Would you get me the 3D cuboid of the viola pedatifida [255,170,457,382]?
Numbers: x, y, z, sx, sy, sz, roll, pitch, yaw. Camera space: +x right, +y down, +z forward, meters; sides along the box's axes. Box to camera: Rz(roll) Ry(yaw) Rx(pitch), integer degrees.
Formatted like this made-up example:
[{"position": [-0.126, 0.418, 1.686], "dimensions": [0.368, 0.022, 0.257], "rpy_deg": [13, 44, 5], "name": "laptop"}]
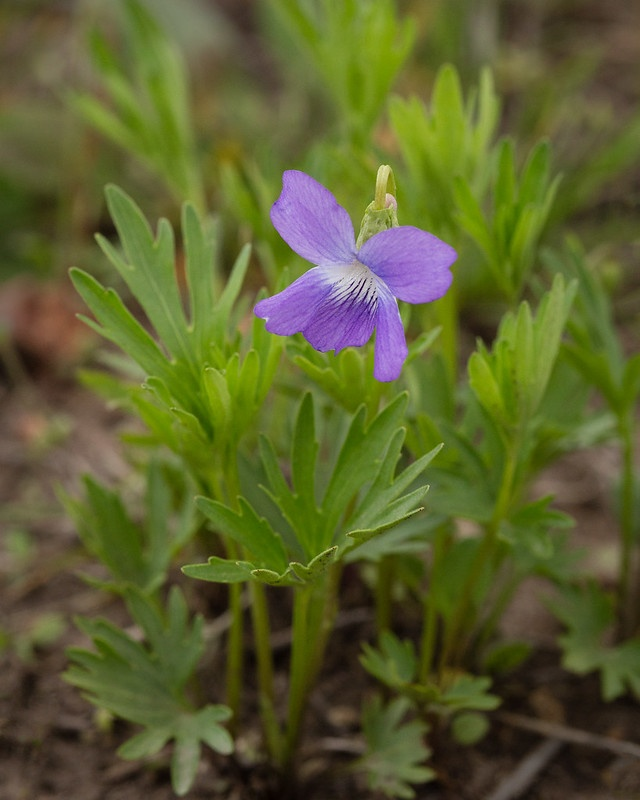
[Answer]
[{"position": [0.033, -0.120, 0.825], "dimensions": [0.193, 0.207, 0.106], "rpy_deg": [18, 54, 7], "name": "viola pedatifida"}]
